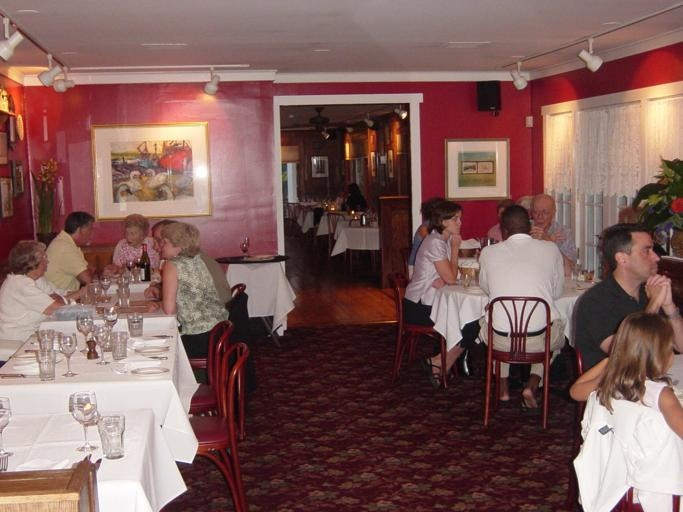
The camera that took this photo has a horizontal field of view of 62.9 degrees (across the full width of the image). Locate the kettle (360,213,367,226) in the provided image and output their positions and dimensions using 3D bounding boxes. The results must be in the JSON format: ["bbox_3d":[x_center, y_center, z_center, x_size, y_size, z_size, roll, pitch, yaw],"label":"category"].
[{"bbox_3d":[0.439,-0.733,11.251,0.198,0.308,0.198,0,-1,0],"label":"kettle"}]

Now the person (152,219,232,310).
[{"bbox_3d":[-1.548,0.127,5.073,0.525,0.807,0.579,18,2,-22],"label":"person"}]

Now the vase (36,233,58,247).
[{"bbox_3d":[-3.351,-0.187,6.341,0.215,0.162,0.216,0,-1,-17],"label":"vase"}]

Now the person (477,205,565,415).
[{"bbox_3d":[1.522,0.427,4.637,0.855,1.630,0.861,-5,6,-23],"label":"person"}]

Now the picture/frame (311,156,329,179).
[{"bbox_3d":[-0.764,-3.102,19.214,0.720,0.837,0.108,-2,9,-2],"label":"picture/frame"}]

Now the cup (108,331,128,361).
[{"bbox_3d":[-1.280,0.514,3.264,0.133,0.189,0.150,0,2,-14],"label":"cup"}]

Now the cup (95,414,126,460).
[{"bbox_3d":[-0.860,0.670,2.104,0.095,0.139,0.090,4,2,0],"label":"cup"}]

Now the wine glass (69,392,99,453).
[{"bbox_3d":[-1.025,0.631,2.223,0.096,0.214,0.313,-6,9,-26],"label":"wine glass"}]

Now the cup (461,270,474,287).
[{"bbox_3d":[1.153,0.199,5.114,0.133,0.152,0.135,-3,3,0],"label":"cup"}]

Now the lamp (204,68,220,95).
[{"bbox_3d":[-1.724,-2.318,7.440,0.190,0.355,0.581,-4,8,-12],"label":"lamp"}]

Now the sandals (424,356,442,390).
[{"bbox_3d":[0.844,1.080,5.161,0.108,0.301,0.089,-11,3,-18],"label":"sandals"}]

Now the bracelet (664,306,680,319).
[{"bbox_3d":[1.807,0.302,3.055,0.076,0.038,0.089,-2,7,5],"label":"bracelet"}]
